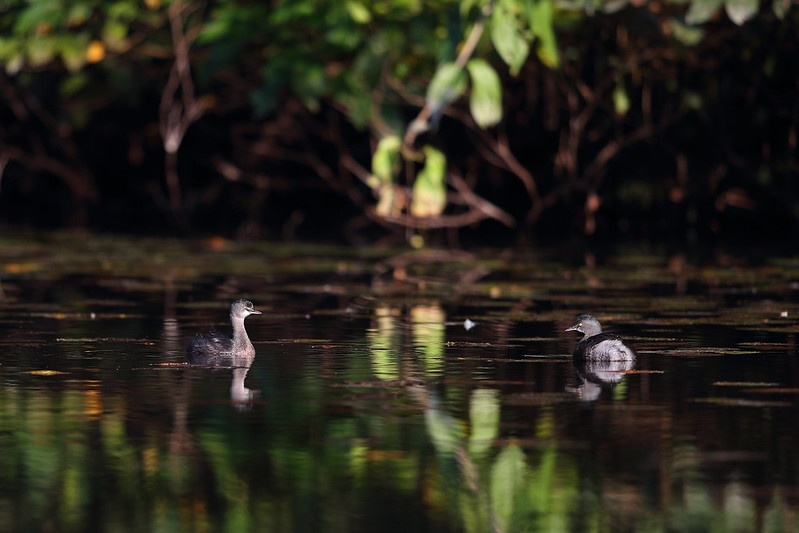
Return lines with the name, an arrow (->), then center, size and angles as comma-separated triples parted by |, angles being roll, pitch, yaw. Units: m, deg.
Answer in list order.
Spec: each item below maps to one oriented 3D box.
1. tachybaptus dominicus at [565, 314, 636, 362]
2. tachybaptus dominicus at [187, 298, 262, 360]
tachybaptus dominicus -> 1.791, 0.646, 9.421 | 0.462, 0.473, 0.617 | 4, -9, -13
tachybaptus dominicus -> -1.620, 0.633, 9.643 | 0.853, 0.644, 0.307 | 0, 1, 30
